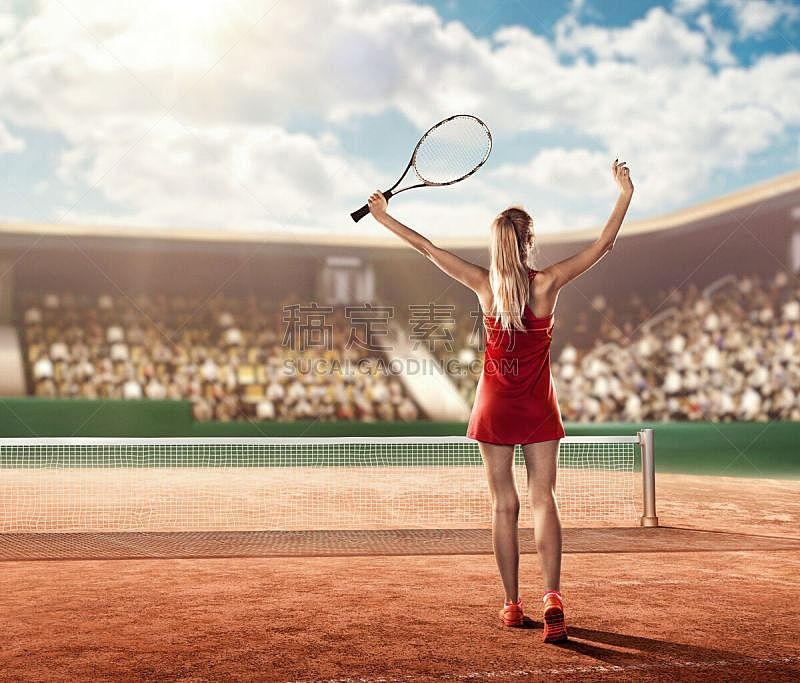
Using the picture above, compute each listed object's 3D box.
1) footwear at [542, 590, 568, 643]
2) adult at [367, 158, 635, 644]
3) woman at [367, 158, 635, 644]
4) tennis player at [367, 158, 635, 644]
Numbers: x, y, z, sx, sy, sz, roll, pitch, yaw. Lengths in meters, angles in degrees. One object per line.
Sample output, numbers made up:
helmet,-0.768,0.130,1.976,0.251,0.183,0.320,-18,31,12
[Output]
footwear,0.586,1.051,3.359,0.088,0.187,0.091,-4,15,3
adult,0.453,0.208,3.591,0.937,1.896,0.337,0,-2,21
woman,0.452,0.208,3.591,0.940,1.896,0.337,0,-2,21
tennis player,0.456,0.208,3.590,0.932,1.896,0.337,0,-2,21
